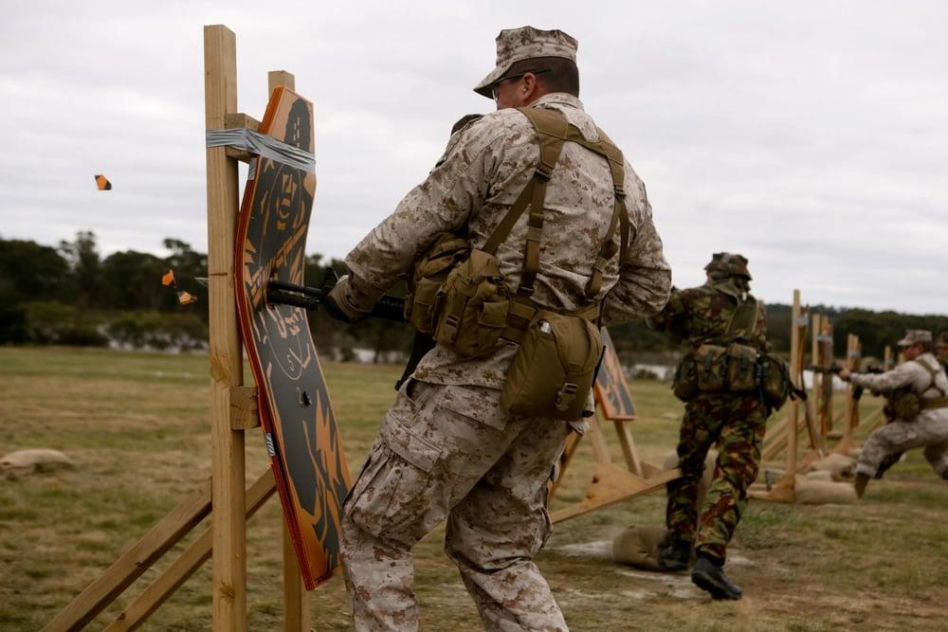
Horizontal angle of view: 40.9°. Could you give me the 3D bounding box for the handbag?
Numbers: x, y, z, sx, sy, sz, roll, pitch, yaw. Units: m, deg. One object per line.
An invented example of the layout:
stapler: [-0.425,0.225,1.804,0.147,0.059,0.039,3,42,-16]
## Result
handbag: [0.471,0.306,7.993,0.493,0.590,0.324,16,1,-32]
